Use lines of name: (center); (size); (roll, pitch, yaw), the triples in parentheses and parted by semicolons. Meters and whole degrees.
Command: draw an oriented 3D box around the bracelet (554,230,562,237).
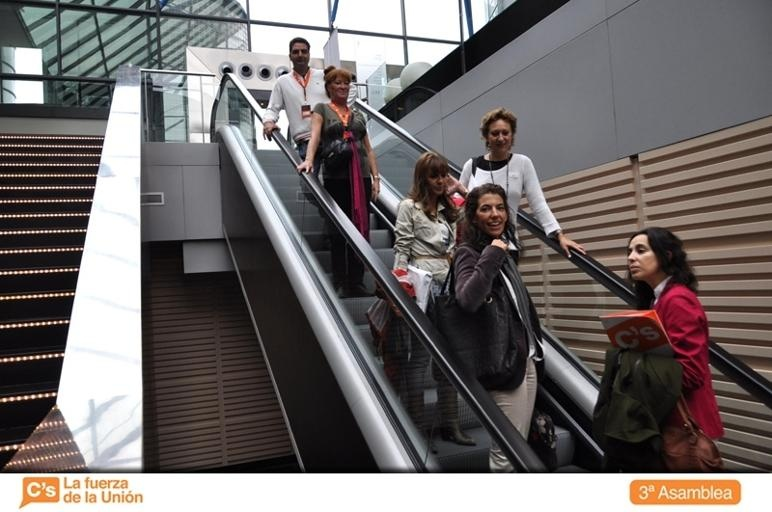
bracelet: (1.282, -0.176, 3.700); (0.048, 0.046, 0.052); (-38, -6, 21)

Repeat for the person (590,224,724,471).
person: (1.479, 0.528, 2.621); (0.582, 1.275, 0.614); (7, 12, 35)

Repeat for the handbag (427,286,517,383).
handbag: (0.487, 0.459, 2.797); (0.444, 0.468, 0.222); (-11, -17, -16)

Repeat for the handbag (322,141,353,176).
handbag: (-0.383, -0.811, 4.005); (0.136, 0.154, 0.210); (-25, -22, -42)
